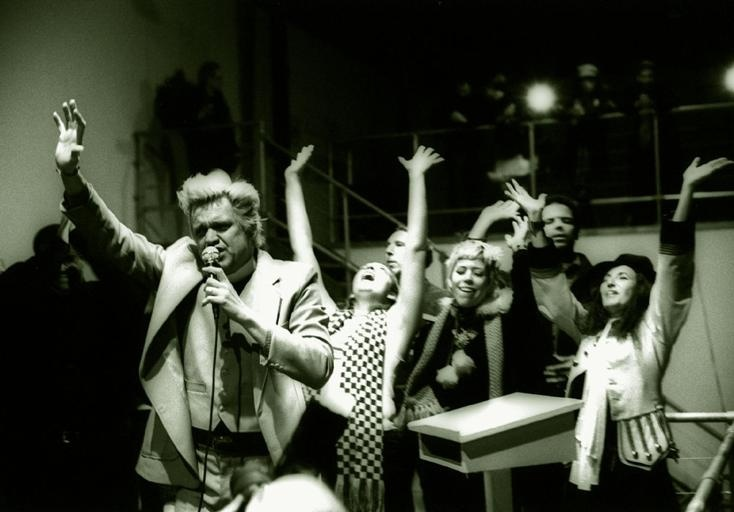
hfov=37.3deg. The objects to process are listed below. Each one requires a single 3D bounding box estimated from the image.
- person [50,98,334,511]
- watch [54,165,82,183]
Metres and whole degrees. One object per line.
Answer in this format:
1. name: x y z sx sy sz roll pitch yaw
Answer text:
1. person: -0.688 0.421 5.382 0.994 1.669 0.546 -3 5 -7
2. watch: -1.494 -0.411 5.433 0.075 0.076 0.097 -2 -16 3
